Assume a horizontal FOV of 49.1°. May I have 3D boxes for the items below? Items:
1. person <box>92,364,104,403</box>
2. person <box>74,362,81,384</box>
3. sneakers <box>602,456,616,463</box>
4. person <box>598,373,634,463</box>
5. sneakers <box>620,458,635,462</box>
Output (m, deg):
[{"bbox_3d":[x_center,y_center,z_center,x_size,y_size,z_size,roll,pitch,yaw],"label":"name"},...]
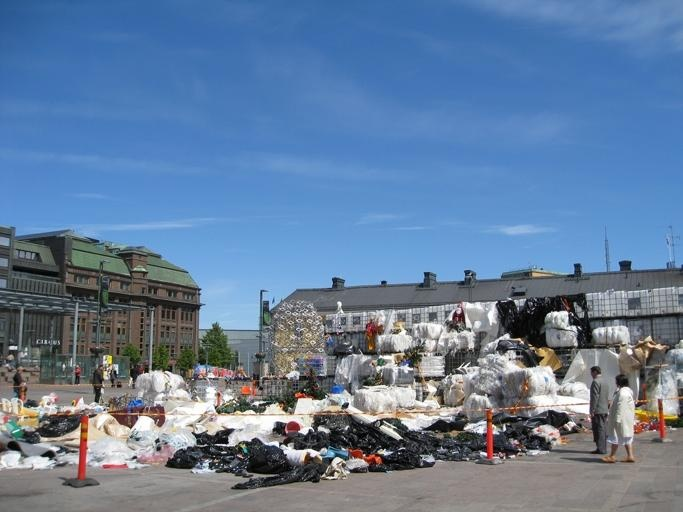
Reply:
[{"bbox_3d":[-11.179,5.901,34.203,0.370,1.611,1.456,1,-9,-20],"label":"person"},{"bbox_3d":[-17.144,7.676,48.460,0.423,1.319,2.407,1,-9,-19],"label":"person"},{"bbox_3d":[6.985,5.329,19.534,0.260,0.166,0.181,-6,-10,23],"label":"sneakers"},{"bbox_3d":[7.454,4.343,20.097,0.797,2.243,1.283,-6,-9,19],"label":"person"},{"bbox_3d":[7.486,5.356,19.535,0.334,0.128,0.104,1,-3,20],"label":"sneakers"}]
